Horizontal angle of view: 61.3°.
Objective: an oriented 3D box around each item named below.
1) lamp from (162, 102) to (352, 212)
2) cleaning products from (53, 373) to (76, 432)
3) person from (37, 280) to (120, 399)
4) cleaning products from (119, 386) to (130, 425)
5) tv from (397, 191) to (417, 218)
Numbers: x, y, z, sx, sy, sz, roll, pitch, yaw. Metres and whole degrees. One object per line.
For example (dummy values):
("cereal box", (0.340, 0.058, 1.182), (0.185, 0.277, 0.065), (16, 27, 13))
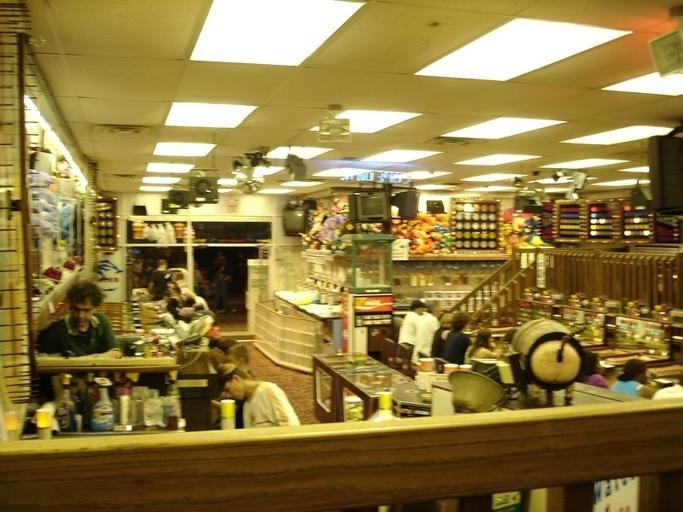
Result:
("lamp", (-1.187, -1.363, 8.170), (3.015, 0.571, 0.408), (-14, 1, 34))
("cleaning products", (-1.745, 0.925, 3.652), (0.113, 0.352, 0.149), (-2, -4, -22))
("person", (-1.983, 0.469, 4.419), (0.426, 0.554, 0.566), (-4, -3, 18))
("cleaning products", (-1.406, 0.972, 3.736), (0.076, 0.237, 0.071), (-3, -4, -15))
("tv", (1.231, -0.937, 10.483), (0.332, 0.493, 0.330), (-2, -3, -11))
